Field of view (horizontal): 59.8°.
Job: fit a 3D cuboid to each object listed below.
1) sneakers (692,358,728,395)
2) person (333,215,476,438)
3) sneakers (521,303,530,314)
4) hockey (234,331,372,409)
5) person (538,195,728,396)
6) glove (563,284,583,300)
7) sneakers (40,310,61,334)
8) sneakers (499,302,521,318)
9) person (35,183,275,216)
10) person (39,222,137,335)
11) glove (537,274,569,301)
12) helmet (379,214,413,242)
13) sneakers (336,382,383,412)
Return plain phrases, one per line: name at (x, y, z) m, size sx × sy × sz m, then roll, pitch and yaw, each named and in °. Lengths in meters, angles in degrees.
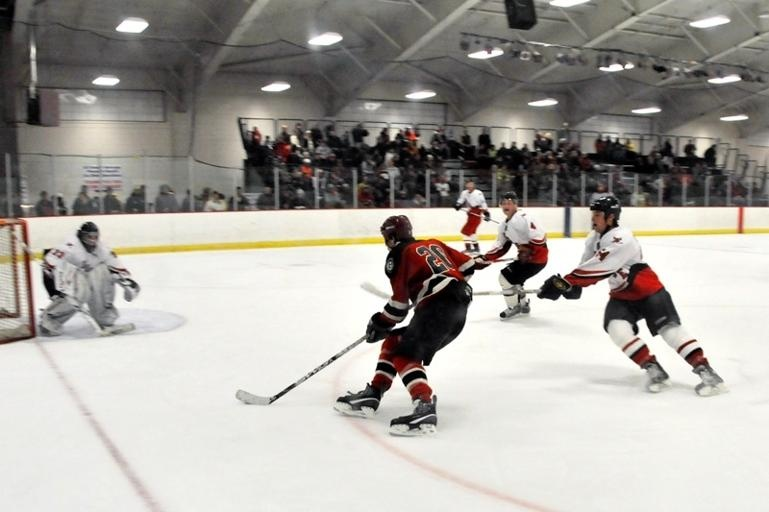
sneakers at (2.463, 0.933, 5.095) m, size 0.304 × 0.257 × 0.149 m, roll -7°, pitch 12°, yaw -20°
person at (0.126, 0.453, 4.685) m, size 0.954 × 1.409 × 0.737 m, roll 2°, pitch 15°, yaw 5°
sneakers at (1.561, 0.568, 7.328) m, size 0.058 × 0.137 × 0.189 m, roll 10°, pitch 16°, yaw 33°
hockey at (-0.676, 0.964, 5.514) m, size 0.986 × 0.151 × 0.259 m, roll -23°, pitch 34°, yaw 12°
person at (1.999, 0.271, 5.308) m, size 1.416 × 1.452 × 0.584 m, roll 10°, pitch 18°, yaw 36°
glove at (1.553, 0.301, 5.510) m, size 0.141 × 0.106 × 0.130 m, roll -1°, pitch 0°, yaw 6°
sneakers at (-3.246, 0.653, 6.474) m, size 0.207 × 0.243 × 0.106 m, roll -2°, pitch 15°, yaw -10°
sneakers at (1.368, 0.593, 7.280) m, size 0.299 × 0.103 × 0.099 m, roll -21°, pitch 6°, yaw -18°
person at (-4.198, -1.042, 12.301) m, size 4.196 × 0.562 × 0.233 m, roll -5°, pitch 16°, yaw -26°
person at (-2.898, 0.236, 6.477) m, size 0.924 × 1.083 × 0.486 m, roll -6°, pitch 16°, yaw -22°
glove at (1.387, 0.270, 5.493) m, size 0.268 × 0.103 × 0.169 m, roll -14°, pitch 47°, yaw 21°
helmet at (0.096, -0.203, 4.849) m, size 0.247 × 0.178 × 0.176 m, roll -21°, pitch 15°, yaw -26°
sneakers at (-0.170, 1.040, 4.770) m, size 0.433 × 0.167 × 0.161 m, roll -8°, pitch -16°, yaw 41°
